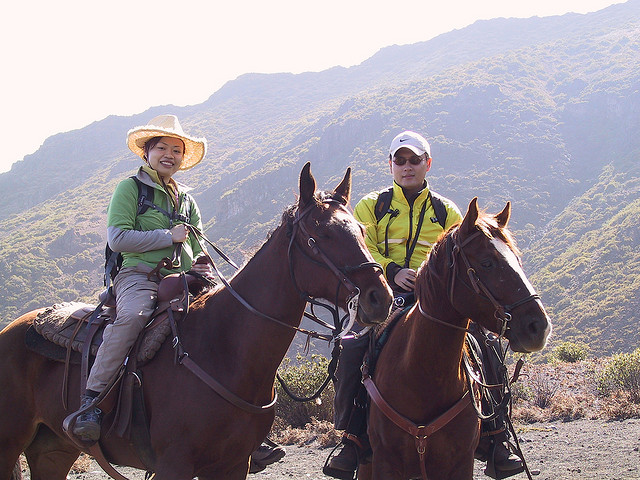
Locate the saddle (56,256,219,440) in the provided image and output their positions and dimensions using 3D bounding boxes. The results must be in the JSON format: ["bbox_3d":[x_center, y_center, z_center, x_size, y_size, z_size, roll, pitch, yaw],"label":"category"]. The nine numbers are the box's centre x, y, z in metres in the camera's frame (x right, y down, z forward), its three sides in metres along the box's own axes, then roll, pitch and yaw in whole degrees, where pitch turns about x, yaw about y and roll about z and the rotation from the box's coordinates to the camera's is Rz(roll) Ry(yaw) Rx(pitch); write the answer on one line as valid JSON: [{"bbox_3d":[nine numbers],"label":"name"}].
[{"bbox_3d":[-2.073,0.934,6.240,0.878,1.601,2.651,-8,28,-26],"label":"saddle"}]
